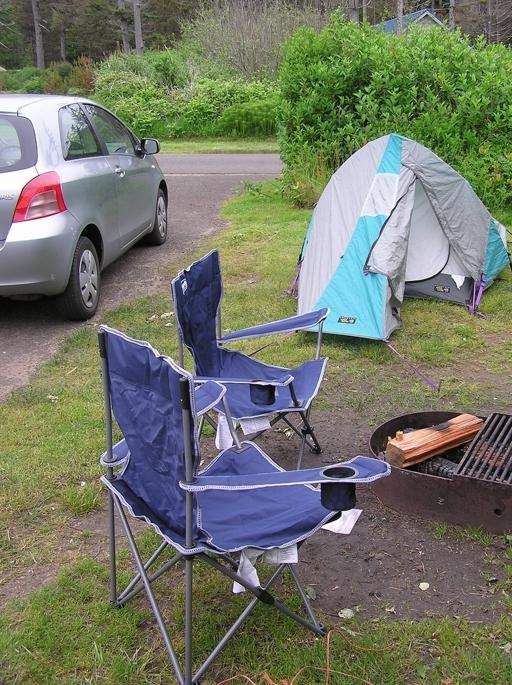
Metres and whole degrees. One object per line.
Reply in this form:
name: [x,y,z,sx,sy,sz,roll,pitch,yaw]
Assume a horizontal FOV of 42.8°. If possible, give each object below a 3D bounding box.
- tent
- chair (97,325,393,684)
tent: [1.199,-0.880,5.480,1.407,1.128,2.041,7,27,27]
chair: [-0.054,0.655,2.529,0.569,0.861,0.944,-13,22,-28]
